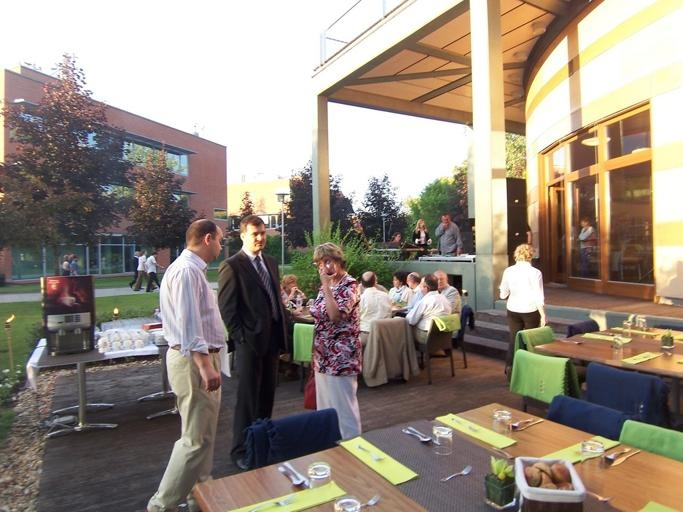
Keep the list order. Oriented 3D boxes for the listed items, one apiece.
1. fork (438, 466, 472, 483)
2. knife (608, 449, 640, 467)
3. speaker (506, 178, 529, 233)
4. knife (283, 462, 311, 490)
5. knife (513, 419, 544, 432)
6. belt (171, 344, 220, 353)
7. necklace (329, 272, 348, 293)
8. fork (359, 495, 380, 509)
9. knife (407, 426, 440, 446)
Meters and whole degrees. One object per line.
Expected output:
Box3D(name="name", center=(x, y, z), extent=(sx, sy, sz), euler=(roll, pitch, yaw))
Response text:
Box3D(name="fork", center=(0.833, 1.547, 3.522), extent=(0.340, 0.064, 0.080), euler=(-5, 5, -38))
Box3D(name="knife", center=(2.096, 1.482, 3.662), extent=(0.361, 0.042, 0.104), euler=(-3, 6, -42))
Box3D(name="speaker", center=(5.027, -1.434, 13.921), extent=(0.593, 1.603, 1.033), euler=(1, 6, 20))
Box3D(name="knife", center=(-0.328, 1.573, 3.561), extent=(0.087, 0.050, 0.209), euler=(-8, 12, -26))
Box3D(name="knife", center=(1.537, 1.342, 4.052), extent=(0.337, 0.052, 0.097), euler=(-1, 12, -45))
Box3D(name="belt", center=(-1.274, 0.817, 4.360), extent=(0.181, 0.051, 0.208), euler=(2, -2, 5))
Box3D(name="necklace", center=(-0.048, 0.257, 4.875), extent=(0.140, 0.167, 0.186), euler=(-9, -17, 32))
Box3D(name="fork", center=(0.199, 1.654, 3.325), extent=(0.191, 0.031, 0.045), euler=(-12, 23, -37))
Box3D(name="knife", center=(0.617, 1.410, 3.917), extent=(0.076, 0.063, 0.231), euler=(-4, 7, -27))
